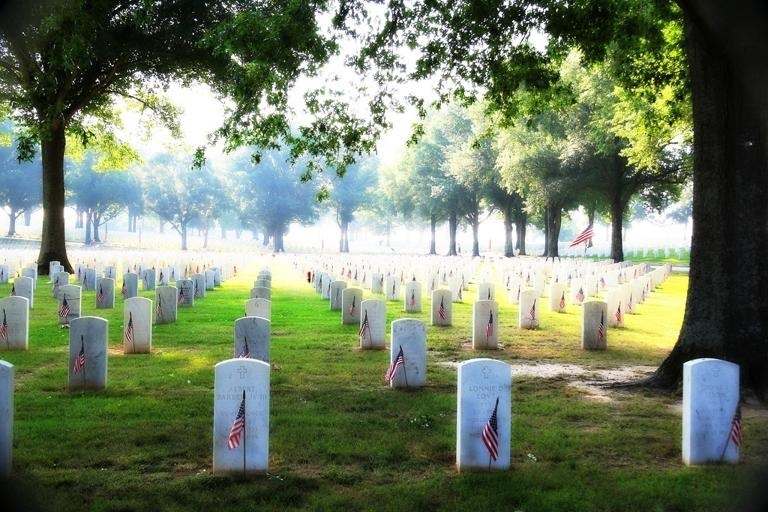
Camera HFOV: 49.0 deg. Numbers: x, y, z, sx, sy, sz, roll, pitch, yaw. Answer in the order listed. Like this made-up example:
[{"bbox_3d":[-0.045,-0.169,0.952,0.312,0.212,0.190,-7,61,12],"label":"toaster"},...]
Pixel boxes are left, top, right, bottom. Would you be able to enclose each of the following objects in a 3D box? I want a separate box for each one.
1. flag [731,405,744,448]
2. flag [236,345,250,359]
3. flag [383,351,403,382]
[{"bbox_3d":[8.304,3.992,19.849,0.339,0.952,0.139,3,-1,-39],"label":"flag"},{"bbox_3d":[-3.716,2.585,22.543,0.460,0.434,0.312,5,-3,-9],"label":"flag"},{"bbox_3d":[0.296,2.892,22.137,0.420,0.655,0.263,2,-1,1],"label":"flag"}]
